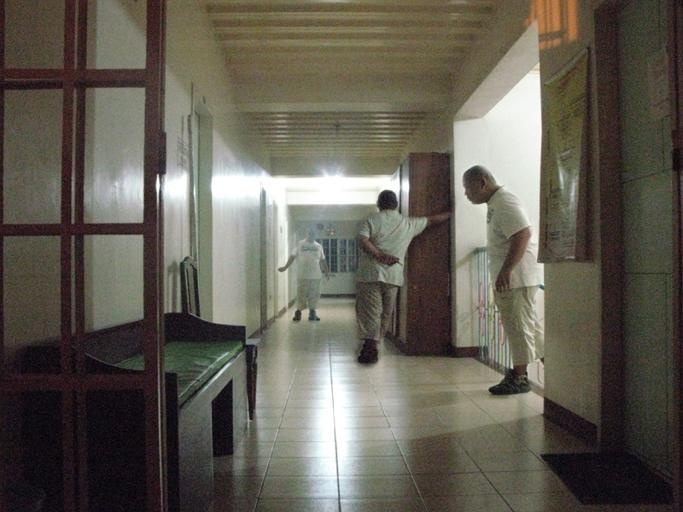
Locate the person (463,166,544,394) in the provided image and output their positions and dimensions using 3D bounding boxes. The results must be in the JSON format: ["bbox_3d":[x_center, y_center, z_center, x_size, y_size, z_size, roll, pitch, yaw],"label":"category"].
[{"bbox_3d":[1.288,0.183,4.724,0.579,1.803,0.665,0,2,17],"label":"person"}]

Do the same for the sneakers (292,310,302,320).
[{"bbox_3d":[-0.766,1.025,10.400,0.181,0.212,0.109,3,-2,-6],"label":"sneakers"}]

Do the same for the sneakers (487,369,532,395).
[{"bbox_3d":[1.352,1.007,4.834,0.346,0.207,0.154,-4,-2,-4],"label":"sneakers"}]

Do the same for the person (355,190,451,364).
[{"bbox_3d":[0.504,0.300,6.314,0.905,1.562,0.360,-2,3,-38],"label":"person"}]

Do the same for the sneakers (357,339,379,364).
[{"bbox_3d":[0.281,0.961,6.074,0.229,0.250,0.226,-1,3,-10],"label":"sneakers"}]

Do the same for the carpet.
[{"bbox_3d":[1.466,1.204,3.303,0.579,0.093,0.522,0,3,1],"label":"carpet"}]

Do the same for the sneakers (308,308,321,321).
[{"bbox_3d":[-0.503,1.024,10.441,0.252,0.208,0.114,-3,1,20],"label":"sneakers"}]

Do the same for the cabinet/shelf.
[{"bbox_3d":[0.860,0.009,6.519,0.581,2.214,2.146,0,-1,4],"label":"cabinet/shelf"}]
